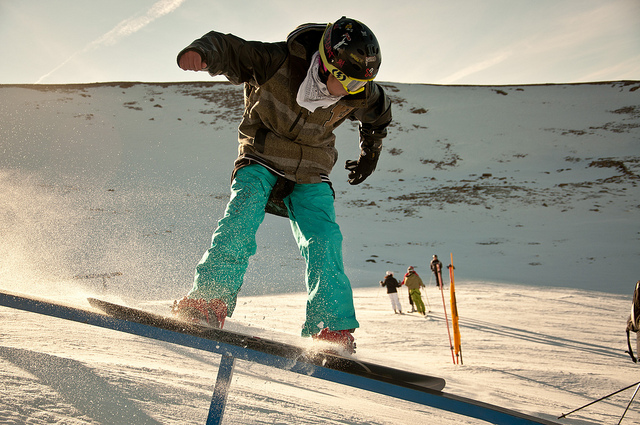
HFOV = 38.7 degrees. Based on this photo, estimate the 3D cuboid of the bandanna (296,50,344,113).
[{"bbox_3d":[0.080,-4.344,30.866,1.730,1.722,1.060,13,5,-2],"label":"bandanna"}]
